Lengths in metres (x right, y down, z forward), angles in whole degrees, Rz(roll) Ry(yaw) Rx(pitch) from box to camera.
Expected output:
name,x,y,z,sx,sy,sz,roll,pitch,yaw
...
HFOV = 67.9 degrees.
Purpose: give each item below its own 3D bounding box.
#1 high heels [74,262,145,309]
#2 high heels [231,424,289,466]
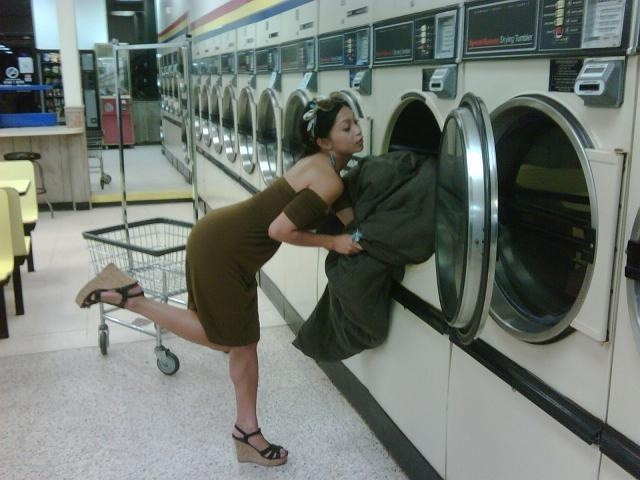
name,x,y,z,sx,sy,sz,roll,pitch,yaw
high heels,-1.061,0.233,2.416,0.317,0.196,0.105,-40,17,-2
high heels,-0.295,1.003,2.398,0.265,0.227,0.142,2,7,1
